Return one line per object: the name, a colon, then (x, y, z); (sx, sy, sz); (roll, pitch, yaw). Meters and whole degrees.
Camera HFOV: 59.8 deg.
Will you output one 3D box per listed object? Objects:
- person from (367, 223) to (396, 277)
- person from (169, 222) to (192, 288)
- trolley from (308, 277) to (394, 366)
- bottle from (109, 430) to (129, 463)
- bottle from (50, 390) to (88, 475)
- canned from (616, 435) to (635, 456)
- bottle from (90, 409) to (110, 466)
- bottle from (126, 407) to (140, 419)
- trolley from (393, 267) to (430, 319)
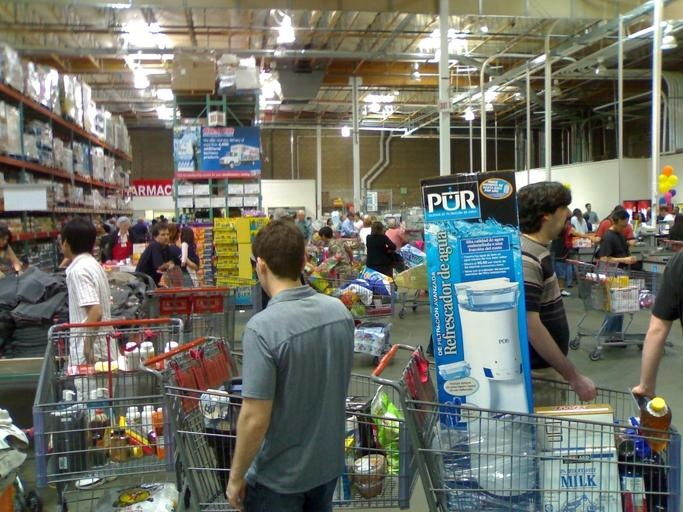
person: (0.664, -0.110, 9.449); (0.526, 0.878, 0.477); (-3, 3, -8)
person: (-2.120, -0.058, 7.993); (0.315, 0.762, 1.713); (-3, 4, -13)
trolley: (0.195, 0.760, 7.259); (1.158, 1.224, 0.761); (-2, 5, 3)
bottle: (-1.297, 1.119, 3.454); (0.112, 0.193, 0.202); (-4, 4, -17)
bottle: (-1.657, 1.082, 3.557); (0.259, 0.480, 0.290); (0, -34, -27)
canned: (1.418, 0.951, 3.010); (0.084, 0.104, 0.113); (-1, -1, 0)
bottle: (-1.434, 1.073, 3.541); (0.118, 0.352, 0.124); (3, 9, 0)
bottle: (-1.236, 0.931, 3.517); (0.073, 0.080, 0.075); (1, 4, -8)
trolley: (0.540, 0.238, 4.700); (0.325, 0.405, 0.324); (1, 0, -41)
